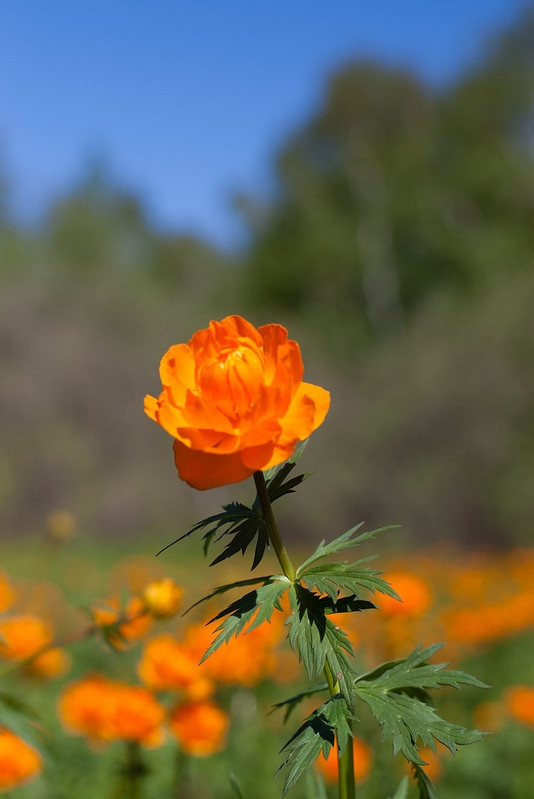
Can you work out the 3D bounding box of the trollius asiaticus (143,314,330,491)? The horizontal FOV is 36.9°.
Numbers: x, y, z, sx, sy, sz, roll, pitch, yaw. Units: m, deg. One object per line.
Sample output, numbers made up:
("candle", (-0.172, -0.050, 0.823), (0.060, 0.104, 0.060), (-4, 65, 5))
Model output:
("trollius asiaticus", (-0.034, -0.017, 0.749), (0.184, 0.104, 0.191), (0, 15, 20))
